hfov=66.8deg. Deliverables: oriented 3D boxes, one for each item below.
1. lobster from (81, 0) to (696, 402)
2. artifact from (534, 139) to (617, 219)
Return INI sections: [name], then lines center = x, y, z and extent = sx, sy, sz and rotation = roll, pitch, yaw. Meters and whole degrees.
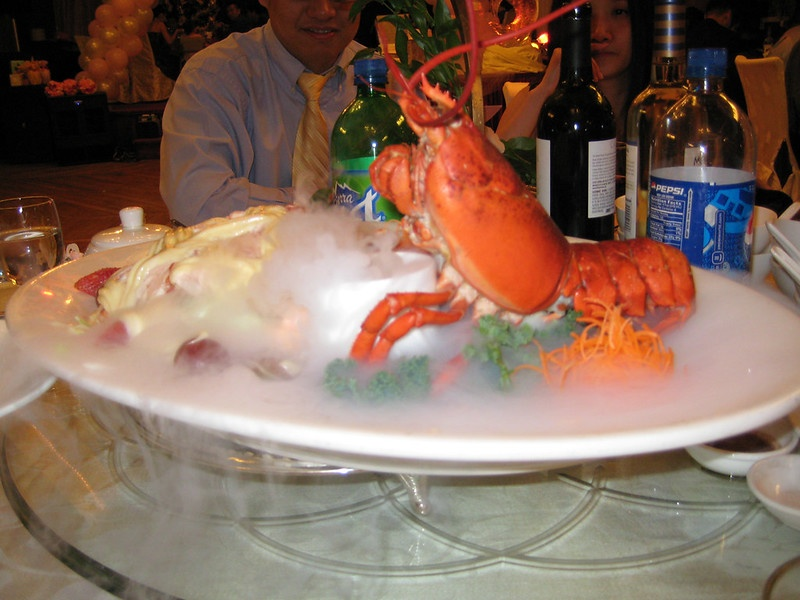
[lobster]
center = -0.008, -0.037, 0.789
extent = 0.604, 0.421, 0.439
rotation = 18, 23, -9
[artifact]
center = 0.271, -0.191, 0.988
extent = 0.120, 0.140, 0.127
rotation = -2, 8, -8
